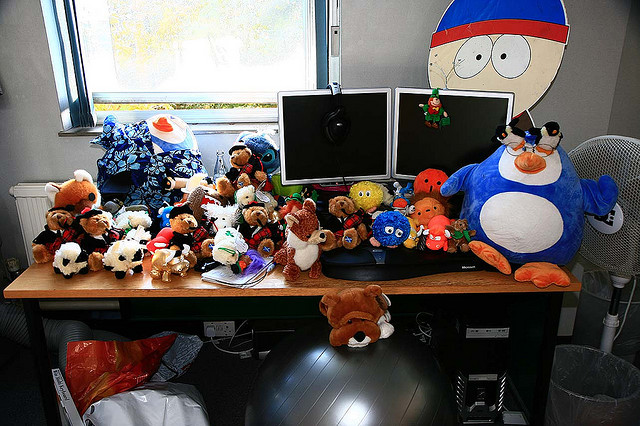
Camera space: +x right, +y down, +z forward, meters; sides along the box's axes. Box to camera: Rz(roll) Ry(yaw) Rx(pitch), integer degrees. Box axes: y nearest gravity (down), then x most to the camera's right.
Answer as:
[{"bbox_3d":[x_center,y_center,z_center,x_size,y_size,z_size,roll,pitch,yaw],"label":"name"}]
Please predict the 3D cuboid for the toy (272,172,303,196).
[{"bbox_3d":[-0.180,-0.132,2.441,0.141,0.133,0.114,-9,49,-15],"label":"toy"}]

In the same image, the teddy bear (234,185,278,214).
[{"bbox_3d":[-0.332,-0.085,2.250,0.132,0.087,0.169,-16,25,-41],"label":"teddy bear"}]

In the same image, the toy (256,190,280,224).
[{"bbox_3d":[-0.253,-0.034,2.270,0.049,0.166,0.100,-26,-13,22],"label":"toy"}]

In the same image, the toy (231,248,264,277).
[{"bbox_3d":[-0.327,0.230,2.113,0.128,0.060,0.176,21,35,25],"label":"toy"}]

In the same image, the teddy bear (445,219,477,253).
[{"bbox_3d":[0.656,0.097,2.173,0.171,0.151,0.266,4,9,8],"label":"teddy bear"}]

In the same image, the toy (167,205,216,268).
[{"bbox_3d":[-0.623,0.106,2.168,0.244,0.294,0.176,-13,9,-32],"label":"toy"}]

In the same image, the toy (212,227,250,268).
[{"bbox_3d":[-0.438,0.159,2.151,0.169,0.097,0.232,11,20,-7],"label":"toy"}]

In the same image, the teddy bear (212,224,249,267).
[{"bbox_3d":[-0.424,0.148,2.137,0.173,0.095,0.238,22,26,-7],"label":"teddy bear"}]

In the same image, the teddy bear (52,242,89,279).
[{"bbox_3d":[-1.130,0.209,2.084,0.144,0.161,0.118,3,2,-1],"label":"teddy bear"}]

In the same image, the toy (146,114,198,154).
[{"bbox_3d":[-0.837,-0.430,2.532,0.163,0.186,0.177,27,66,23],"label":"toy"}]

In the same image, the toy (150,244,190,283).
[{"bbox_3d":[-0.703,0.223,2.105,0.173,0.161,0.170,21,18,41],"label":"toy"}]

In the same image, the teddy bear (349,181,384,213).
[{"bbox_3d":[0.236,-0.085,2.296,0.147,0.116,0.148,-3,7,-13],"label":"teddy bear"}]

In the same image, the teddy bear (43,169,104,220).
[{"bbox_3d":[-1.243,-0.084,2.280,0.173,0.240,0.174,-29,-5,-22],"label":"teddy bear"}]

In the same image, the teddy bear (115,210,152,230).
[{"bbox_3d":[-0.936,0.036,2.261,0.143,0.063,0.086,-9,8,-12],"label":"teddy bear"}]

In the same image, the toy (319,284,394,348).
[{"bbox_3d":[0.158,0.429,1.909,0.289,0.222,0.256,-7,16,-11],"label":"toy"}]

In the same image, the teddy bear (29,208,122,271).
[{"bbox_3d":[-1.165,0.097,2.161,0.326,0.227,0.330,8,8,-2],"label":"teddy bear"}]

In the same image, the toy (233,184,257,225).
[{"bbox_3d":[-0.389,-0.048,2.289,0.134,0.205,0.093,-7,36,-15],"label":"toy"}]

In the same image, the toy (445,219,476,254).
[{"bbox_3d":[0.670,0.098,2.207,0.196,0.162,0.260,0,7,15],"label":"toy"}]

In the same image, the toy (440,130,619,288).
[{"bbox_3d":[0.972,-0.036,2.145,0.703,0.674,0.429,9,18,26],"label":"toy"}]

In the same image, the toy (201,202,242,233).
[{"bbox_3d":[-0.468,0.012,2.186,0.149,0.076,0.151,27,55,0],"label":"toy"}]

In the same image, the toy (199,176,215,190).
[{"bbox_3d":[-0.588,-0.156,2.344,0.068,0.027,0.068,14,46,-26],"label":"toy"}]

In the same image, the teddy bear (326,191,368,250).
[{"bbox_3d":[0.125,0.050,2.153,0.189,0.251,0.104,-11,-13,17],"label":"teddy bear"}]

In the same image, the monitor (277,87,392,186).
[{"bbox_3d":[0.064,-0.399,2.348,0.488,0.425,0.116,-2,12,-7],"label":"monitor"}]

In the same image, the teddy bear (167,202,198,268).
[{"bbox_3d":[-0.660,0.109,2.161,0.145,0.270,0.200,-9,21,-19],"label":"teddy bear"}]

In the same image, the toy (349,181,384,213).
[{"bbox_3d":[0.237,-0.074,2.338,0.147,0.114,0.147,-18,32,-22],"label":"toy"}]

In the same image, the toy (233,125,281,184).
[{"bbox_3d":[-0.296,-0.331,2.564,0.323,0.268,0.244,-2,0,-32],"label":"toy"}]

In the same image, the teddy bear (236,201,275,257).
[{"bbox_3d":[-0.314,0.087,2.162,0.213,0.279,0.152,-9,12,-30],"label":"teddy bear"}]

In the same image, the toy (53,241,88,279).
[{"bbox_3d":[-1.129,0.206,2.084,0.144,0.160,0.123,4,3,-1],"label":"toy"}]

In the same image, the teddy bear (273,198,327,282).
[{"bbox_3d":[-0.097,0.130,2.089,0.275,0.359,0.228,26,39,36],"label":"teddy bear"}]

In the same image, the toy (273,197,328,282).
[{"bbox_3d":[-0.103,0.115,2.106,0.224,0.382,0.279,-19,37,-30],"label":"toy"}]

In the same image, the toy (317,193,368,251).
[{"bbox_3d":[0.126,0.076,2.229,0.279,0.338,0.233,-5,-7,9],"label":"toy"}]

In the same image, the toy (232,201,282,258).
[{"bbox_3d":[-0.282,0.079,2.198,0.325,0.282,0.183,-9,4,-16],"label":"toy"}]

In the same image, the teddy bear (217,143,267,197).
[{"bbox_3d":[-0.403,-0.232,2.386,0.261,0.340,0.246,-3,-12,9],"label":"teddy bear"}]

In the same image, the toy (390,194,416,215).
[{"bbox_3d":[0.410,-0.044,2.259,0.100,0.054,0.076,11,53,27],"label":"toy"}]

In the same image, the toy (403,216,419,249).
[{"bbox_3d":[0.443,0.084,2.159,0.090,0.120,0.047,4,-9,-30],"label":"toy"}]

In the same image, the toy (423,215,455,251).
[{"bbox_3d":[0.560,0.088,2.155,0.143,0.100,0.193,5,62,16],"label":"toy"}]
